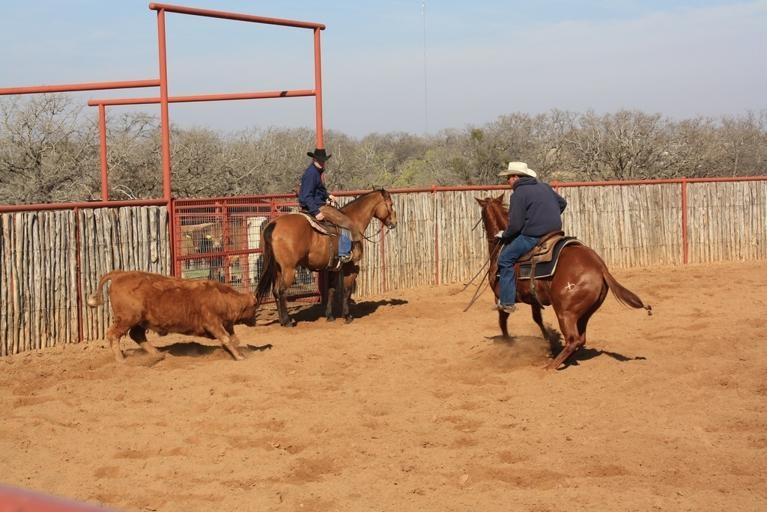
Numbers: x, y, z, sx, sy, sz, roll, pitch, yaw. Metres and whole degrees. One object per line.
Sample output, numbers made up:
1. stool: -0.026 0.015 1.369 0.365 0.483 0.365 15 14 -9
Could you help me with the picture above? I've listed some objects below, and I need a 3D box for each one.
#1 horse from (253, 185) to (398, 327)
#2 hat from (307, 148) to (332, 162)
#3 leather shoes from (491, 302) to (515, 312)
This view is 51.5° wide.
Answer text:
1. horse: -1.061 0.004 14.964 3.146 2.538 0.982 -4 5 -34
2. hat: -1.202 -1.901 14.992 0.485 0.241 0.556 1 1 7
3. leather shoes: 1.898 0.806 12.550 0.289 0.146 0.112 0 -1 20
